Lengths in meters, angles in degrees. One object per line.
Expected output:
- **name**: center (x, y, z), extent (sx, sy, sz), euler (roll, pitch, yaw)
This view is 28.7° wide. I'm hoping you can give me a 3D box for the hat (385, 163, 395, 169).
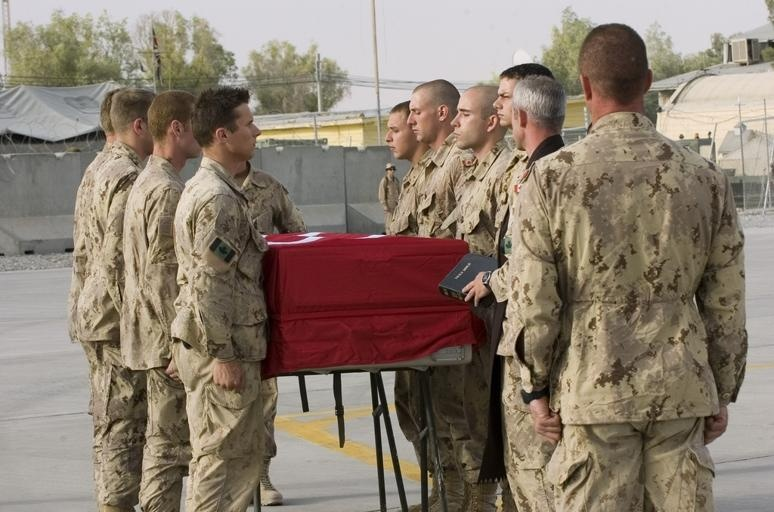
- **hat**: center (0.050, -1.926, 31.020), extent (0.262, 0.104, 0.329), euler (0, -5, -3)
